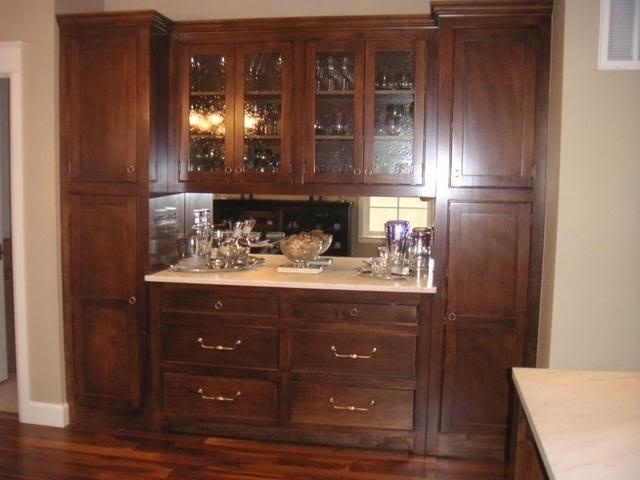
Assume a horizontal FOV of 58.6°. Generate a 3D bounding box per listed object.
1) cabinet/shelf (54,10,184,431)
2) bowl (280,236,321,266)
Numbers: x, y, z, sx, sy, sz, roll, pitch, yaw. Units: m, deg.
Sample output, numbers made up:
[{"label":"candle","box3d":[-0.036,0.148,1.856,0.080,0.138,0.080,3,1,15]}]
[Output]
[{"label":"cabinet/shelf","box3d":[-1.426,-0.125,4.306,0.525,2.889,0.747,0,1,4]},{"label":"bowl","box3d":[-0.124,0.065,4.007,0.230,0.163,0.227,1,5,0]}]
